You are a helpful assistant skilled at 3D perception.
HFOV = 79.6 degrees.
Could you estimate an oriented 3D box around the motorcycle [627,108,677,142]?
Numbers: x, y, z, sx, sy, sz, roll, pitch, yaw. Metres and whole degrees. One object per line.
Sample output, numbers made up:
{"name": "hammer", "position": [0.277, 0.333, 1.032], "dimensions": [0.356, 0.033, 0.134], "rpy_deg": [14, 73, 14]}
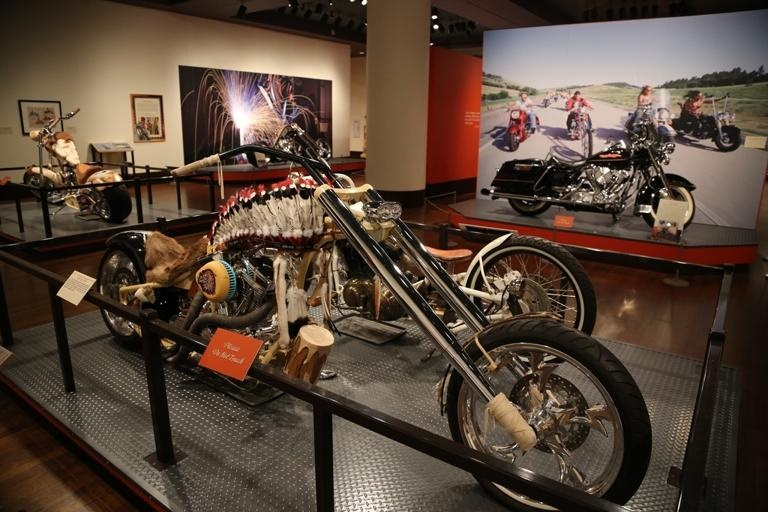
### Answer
{"name": "motorcycle", "position": [3.616, -1.858, 6.496], "dimensions": [0.487, 0.444, 0.736], "rpy_deg": [-13, 23, -26]}

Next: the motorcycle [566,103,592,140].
{"name": "motorcycle", "position": [2.895, -1.980, 6.874], "dimensions": [0.300, 0.311, 0.480], "rpy_deg": [-7, 24, -10]}

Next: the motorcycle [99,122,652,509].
{"name": "motorcycle", "position": [-0.252, -0.004, 3.291], "dimensions": [3.948, 1.693, 1.738], "rpy_deg": [14, 19, 31]}
